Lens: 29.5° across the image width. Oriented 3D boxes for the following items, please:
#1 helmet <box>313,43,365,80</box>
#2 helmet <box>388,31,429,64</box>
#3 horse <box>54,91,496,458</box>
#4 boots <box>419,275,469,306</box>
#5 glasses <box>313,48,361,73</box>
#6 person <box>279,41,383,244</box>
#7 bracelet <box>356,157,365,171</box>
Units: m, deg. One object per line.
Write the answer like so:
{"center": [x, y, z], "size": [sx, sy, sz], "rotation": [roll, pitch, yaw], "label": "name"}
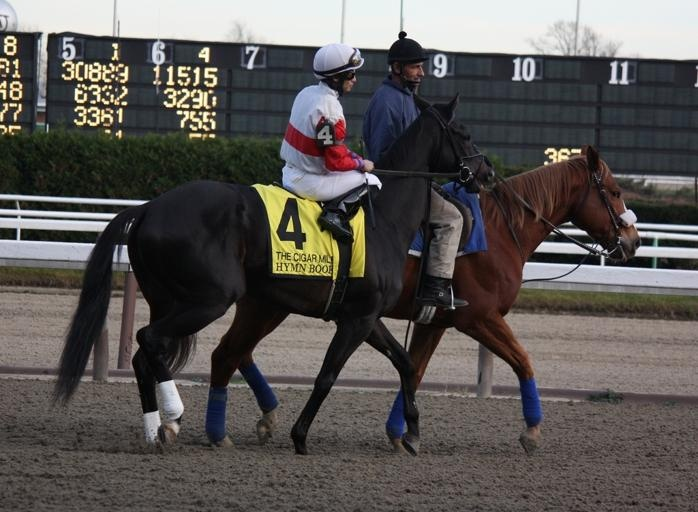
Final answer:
{"center": [-0.097, -1.658, 11.094], "size": [0.463, 0.259, 0.355], "rotation": [-2, 27, 25], "label": "helmet"}
{"center": [0.517, -1.827, 11.644], "size": [0.386, 0.269, 0.315], "rotation": [5, 19, 23], "label": "helmet"}
{"center": [-0.534, 0.181, 11.100], "size": [3.867, 3.037, 0.946], "rotation": [2, -6, -20], "label": "horse"}
{"center": [0.857, 0.306, 11.410], "size": [0.471, 0.353, 0.200], "rotation": [5, 0, -4], "label": "boots"}
{"center": [-0.094, -1.616, 11.048], "size": [0.298, 0.166, 0.231], "rotation": [-12, 20, 2], "label": "glasses"}
{"center": [-0.127, -0.968, 11.137], "size": [0.832, 1.589, 0.793], "rotation": [-8, 16, -43], "label": "person"}
{"center": [0.104, -0.752, 10.941], "size": [0.072, 0.078, 0.060], "rotation": [-11, -2, -11], "label": "bracelet"}
